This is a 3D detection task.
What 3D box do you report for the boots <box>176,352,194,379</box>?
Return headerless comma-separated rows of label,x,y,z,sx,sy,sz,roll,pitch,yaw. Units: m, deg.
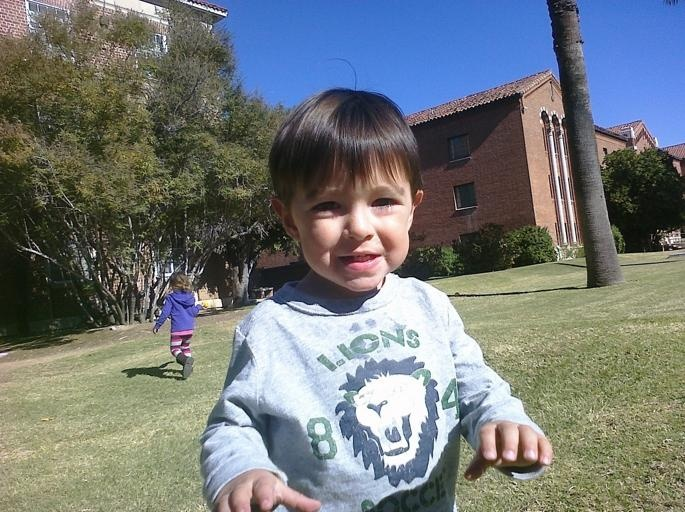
boots,-2.245,1.553,5.938,0.100,0.296,0.180,-8,-2,-24
